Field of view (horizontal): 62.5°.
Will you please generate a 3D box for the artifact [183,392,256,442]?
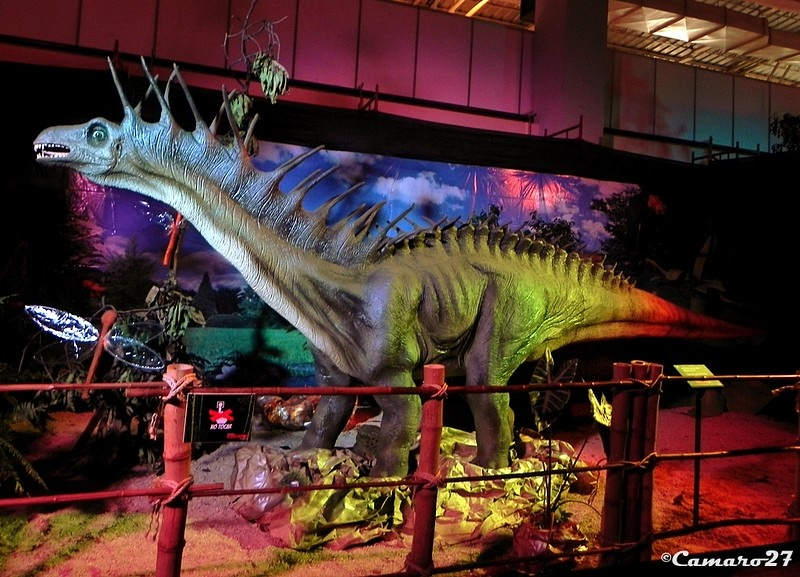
[{"bbox_3d":[-0.945,0.711,3.428,0.350,0.255,0.257,5,-41,-20],"label":"artifact"}]
